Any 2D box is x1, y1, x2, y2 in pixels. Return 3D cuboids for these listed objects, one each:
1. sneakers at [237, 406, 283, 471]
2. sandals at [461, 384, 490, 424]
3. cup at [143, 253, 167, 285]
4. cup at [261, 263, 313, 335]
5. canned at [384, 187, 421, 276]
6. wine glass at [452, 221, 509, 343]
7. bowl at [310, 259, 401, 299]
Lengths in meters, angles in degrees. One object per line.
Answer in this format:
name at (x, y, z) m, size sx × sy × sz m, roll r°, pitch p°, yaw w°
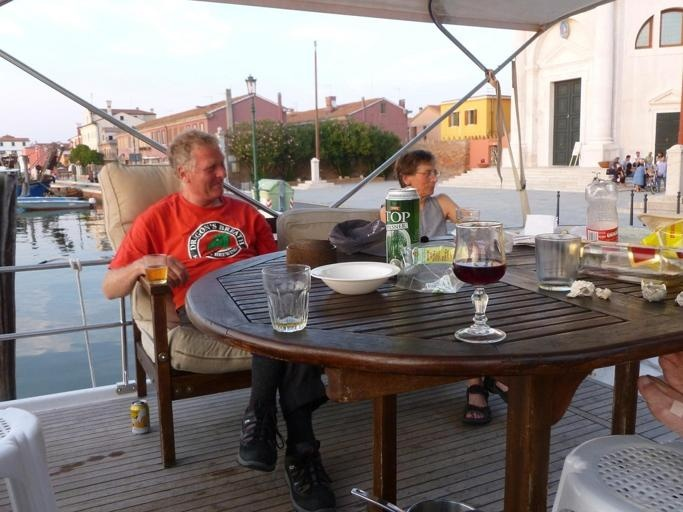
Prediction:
sneakers at (-0.292, 0.623, 1.762) m, size 0.131 × 0.159 × 0.367 m, roll 12°, pitch 3°, yaw -11°
sandals at (0.569, 0.647, 2.097) m, size 0.081 × 0.087 × 0.217 m, roll -3°, pitch -9°, yaw 13°
cup at (-0.693, 0.054, 1.867) m, size 0.076 × 0.109 × 0.125 m, roll -6°, pitch 14°, yaw -17°
cup at (-0.109, 0.090, 1.081) m, size 0.095 × 0.150 × 0.112 m, roll 2°, pitch 10°, yaw -1°
canned at (0.151, -0.074, 1.338) m, size 0.087 × 0.212 × 0.111 m, roll -1°, pitch 5°, yaw -8°
wine glass at (0.281, 0.053, 1.020) m, size 0.111 × 0.227 × 0.101 m, roll -1°, pitch 0°, yaw 26°
bowl at (0.038, 0.043, 1.311) m, size 0.256 × 0.095 × 0.168 m, roll 2°, pitch 6°, yaw -24°
